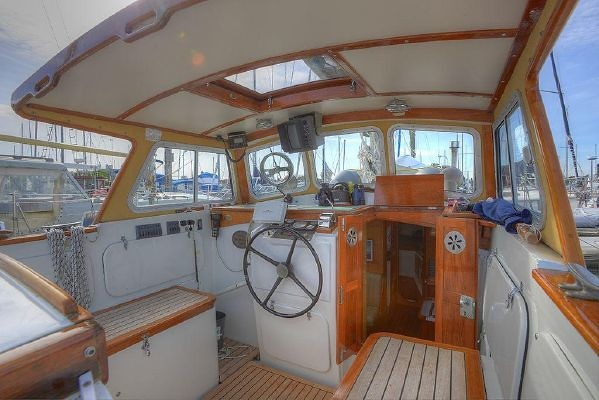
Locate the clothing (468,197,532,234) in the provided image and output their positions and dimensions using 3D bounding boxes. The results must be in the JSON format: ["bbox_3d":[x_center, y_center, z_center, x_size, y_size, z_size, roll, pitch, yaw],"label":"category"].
[{"bbox_3d":[1.748,0.102,2.866,0.403,0.178,0.564,24,5,6],"label":"clothing"}]

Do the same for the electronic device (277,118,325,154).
[{"bbox_3d":[-0.007,-0.831,4.230,0.499,0.458,0.417,-9,17,45],"label":"electronic device"}]

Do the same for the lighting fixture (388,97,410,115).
[{"bbox_3d":[1.090,-1.036,3.690,0.177,0.148,0.183,1,0,4],"label":"lighting fixture"}]
